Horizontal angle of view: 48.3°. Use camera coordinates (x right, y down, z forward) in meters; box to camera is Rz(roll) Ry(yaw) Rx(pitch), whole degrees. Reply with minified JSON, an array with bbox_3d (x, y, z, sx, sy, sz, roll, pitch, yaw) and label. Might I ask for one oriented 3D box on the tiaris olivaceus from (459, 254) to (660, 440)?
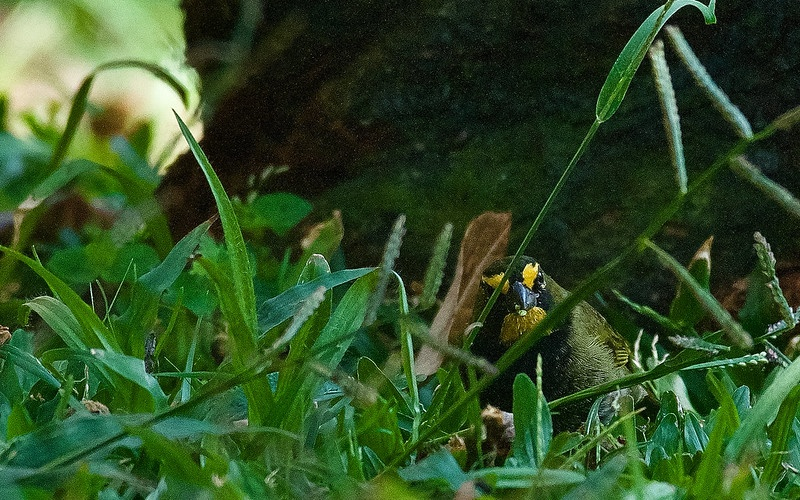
[{"bbox_3d":[0.355,0.207,1.935,0.291,0.392,0.526,-8,-3,37],"label":"tiaris olivaceus"}]
